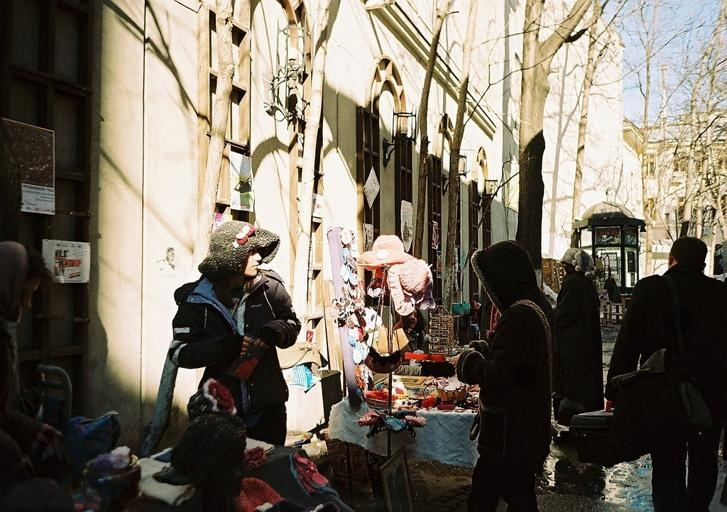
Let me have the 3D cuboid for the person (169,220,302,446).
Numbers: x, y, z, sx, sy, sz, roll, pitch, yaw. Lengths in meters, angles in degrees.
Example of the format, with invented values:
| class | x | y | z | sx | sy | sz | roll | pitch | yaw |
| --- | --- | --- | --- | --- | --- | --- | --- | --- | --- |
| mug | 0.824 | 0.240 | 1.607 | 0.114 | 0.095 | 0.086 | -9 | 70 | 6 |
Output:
| class | x | y | z | sx | sy | sz | roll | pitch | yaw |
| --- | --- | --- | --- | --- | --- | --- | --- | --- | --- |
| person | -0.939 | 0.465 | 5.249 | 0.893 | 1.778 | 0.981 | 1 | 6 | -44 |

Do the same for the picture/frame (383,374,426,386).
| class | x | y | z | sx | sy | sz | roll | pitch | yaw |
| --- | --- | --- | --- | --- | --- | --- | --- | --- | --- |
| picture/frame | 0.416 | 1.259 | 6.795 | 0.246 | 0.067 | 0.265 | 0 | 1 | 26 |

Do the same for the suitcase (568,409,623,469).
| class | x | y | z | sx | sy | sz | roll | pitch | yaw |
| --- | --- | --- | --- | --- | --- | --- | --- | --- | --- |
| suitcase | 1.980 | 1.567 | 5.784 | 0.397 | 0.482 | 0.449 | 4 | 4 | 22 |

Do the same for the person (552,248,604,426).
| class | x | y | z | sx | sy | sz | roll | pitch | yaw |
| --- | --- | --- | --- | --- | --- | --- | --- | --- | --- |
| person | 2.635 | 1.014 | 8.282 | 0.621 | 2.098 | 0.775 | 5 | 9 | 21 |

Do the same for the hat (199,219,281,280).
| class | x | y | z | sx | sy | sz | roll | pitch | yaw |
| --- | --- | --- | --- | --- | --- | --- | --- | --- | --- |
| hat | -0.915 | -0.038 | 5.051 | 0.565 | 0.429 | 0.327 | 3 | -5 | -16 |

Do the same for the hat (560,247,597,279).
| class | x | y | z | sx | sy | sz | roll | pitch | yaw |
| --- | --- | --- | --- | --- | --- | --- | --- | --- | --- |
| hat | 2.717 | 0.041 | 8.588 | 0.287 | 0.333 | 0.404 | 22 | 8 | 0 |

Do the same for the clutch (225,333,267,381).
| class | x | y | z | sx | sy | sz | roll | pitch | yaw |
| --- | --- | --- | --- | --- | --- | --- | --- | --- | --- |
| clutch | -0.850 | 0.764 | 4.966 | 0.263 | 0.319 | 0.116 | 3 | -5 | -14 |

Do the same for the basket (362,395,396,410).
| class | x | y | z | sx | sy | sz | roll | pitch | yaw |
| --- | --- | --- | --- | --- | --- | --- | --- | --- | --- |
| basket | 0.124 | 1.347 | 6.123 | 0.285 | 0.101 | 0.063 | -3 | -7 | 40 |

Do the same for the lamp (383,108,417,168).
| class | x | y | z | sx | sy | sz | roll | pitch | yaw |
| --- | --- | --- | --- | --- | --- | --- | --- | --- | --- |
| lamp | 0.639 | -2.054 | 11.936 | 0.543 | 1.138 | 0.454 | 1 | 8 | 2 |
